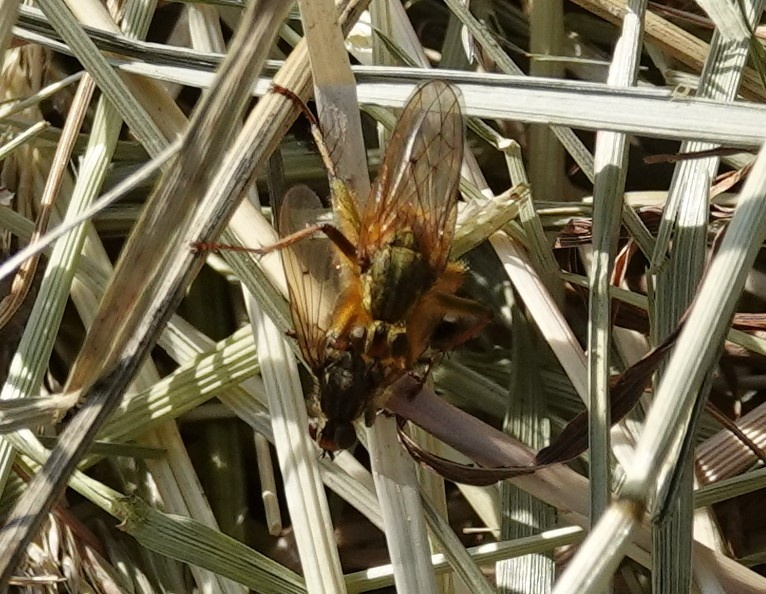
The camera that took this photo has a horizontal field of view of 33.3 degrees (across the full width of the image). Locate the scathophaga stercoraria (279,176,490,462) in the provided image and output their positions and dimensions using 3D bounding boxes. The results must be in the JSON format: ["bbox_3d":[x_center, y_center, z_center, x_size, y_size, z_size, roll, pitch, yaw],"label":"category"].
[{"bbox_3d":[0.014,0.050,1.469,0.287,0.144,0.450,-6,33,11],"label":"scathophaga stercoraria"}]
